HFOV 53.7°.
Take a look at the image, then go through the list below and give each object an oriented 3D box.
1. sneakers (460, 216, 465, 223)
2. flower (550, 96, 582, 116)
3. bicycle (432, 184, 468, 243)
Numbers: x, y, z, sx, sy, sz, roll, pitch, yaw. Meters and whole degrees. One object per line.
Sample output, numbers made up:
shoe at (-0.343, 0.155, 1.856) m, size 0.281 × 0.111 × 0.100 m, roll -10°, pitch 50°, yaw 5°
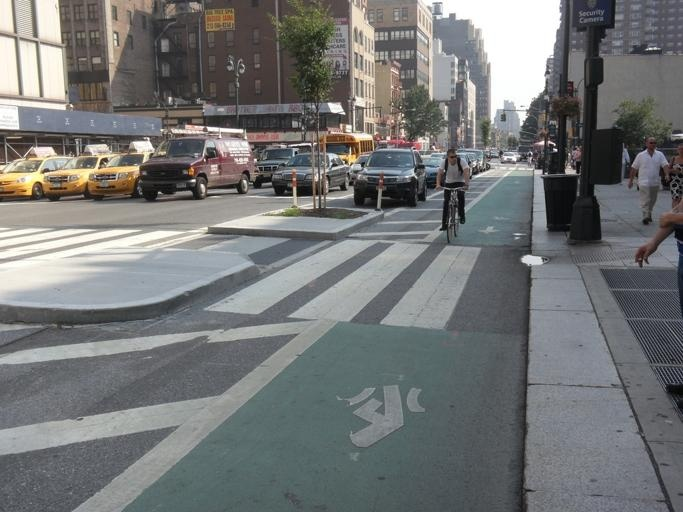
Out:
sneakers at (2.508, -0.755, 14.006) m, size 0.097 × 0.116 × 0.113 m, roll 1°, pitch 17°, yaw 8°
flower at (7.765, -5.207, 23.324) m, size 0.738 × 0.717 × 0.811 m, roll -1°, pitch 16°, yaw 0°
bicycle at (2.232, -0.857, 13.585) m, size 0.357 × 1.059 × 1.355 m, roll 2°, pitch 11°, yaw 17°
